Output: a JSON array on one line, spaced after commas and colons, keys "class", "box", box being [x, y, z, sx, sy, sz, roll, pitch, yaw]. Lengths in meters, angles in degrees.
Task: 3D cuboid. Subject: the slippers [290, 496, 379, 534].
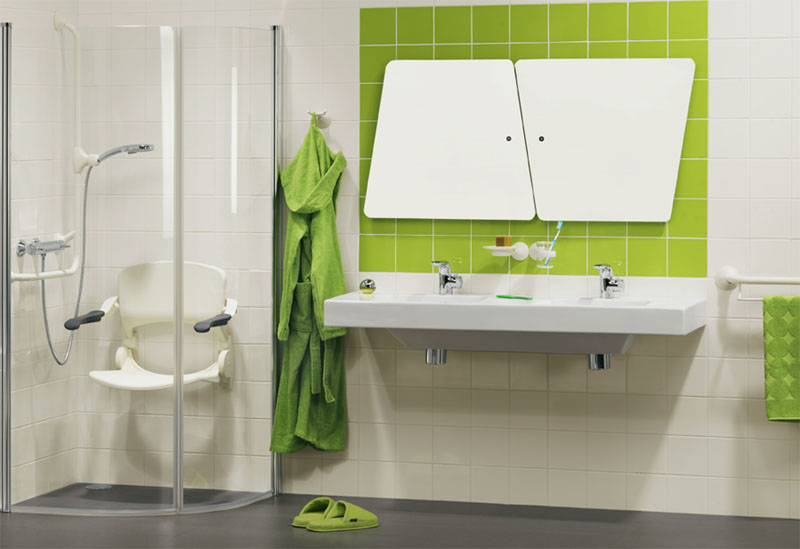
[{"class": "slippers", "box": [-0.308, 1.137, 3.953, 0.247, 0.079, 0.182, 4, -6, -24]}]

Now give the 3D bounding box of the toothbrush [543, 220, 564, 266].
[{"class": "toothbrush", "box": [0.747, -0.155, 4.120, 0.050, 0.199, 0.157, 7, 17, 28]}]

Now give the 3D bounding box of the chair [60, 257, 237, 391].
[{"class": "chair", "box": [-1.166, 0.181, 4.008, 0.828, 0.691, 0.536, 0, -1, -1]}]

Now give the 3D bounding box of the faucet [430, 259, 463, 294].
[{"class": "faucet", "box": [0.237, 0.007, 4.149, 0.143, 0.165, 0.102, 0, 15, 1]}]
